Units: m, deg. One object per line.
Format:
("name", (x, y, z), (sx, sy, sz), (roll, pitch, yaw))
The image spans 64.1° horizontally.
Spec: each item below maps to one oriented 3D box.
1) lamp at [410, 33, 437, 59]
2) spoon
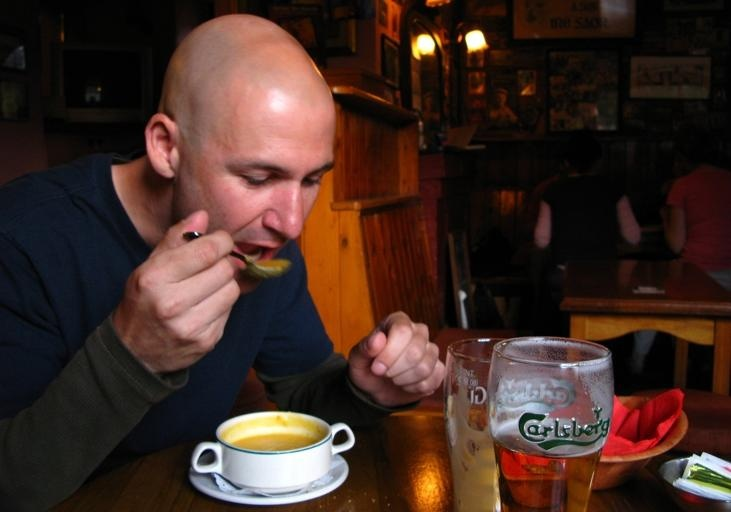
("lamp", (0.610, -2.266, 6.345), (0.090, 0.359, 0.360), (5, 7, 42))
("spoon", (-0.288, 0.012, 1.491), (0.153, 0.059, 0.115), (22, -24, 29))
